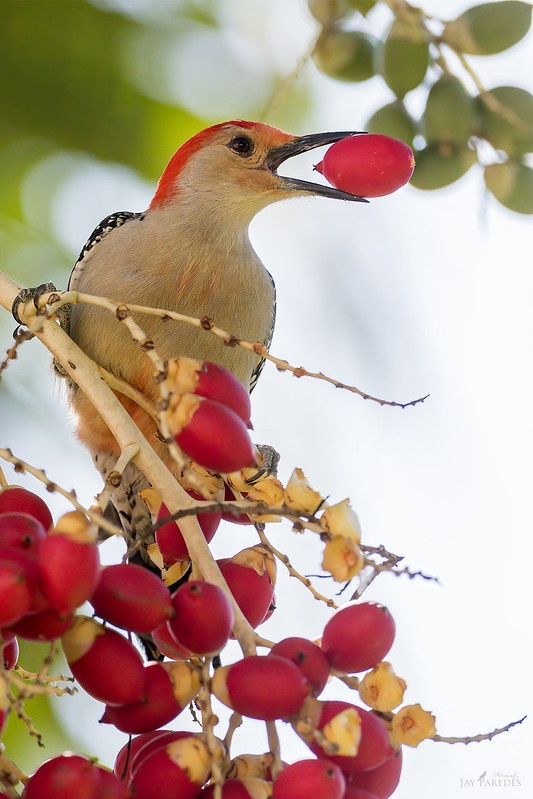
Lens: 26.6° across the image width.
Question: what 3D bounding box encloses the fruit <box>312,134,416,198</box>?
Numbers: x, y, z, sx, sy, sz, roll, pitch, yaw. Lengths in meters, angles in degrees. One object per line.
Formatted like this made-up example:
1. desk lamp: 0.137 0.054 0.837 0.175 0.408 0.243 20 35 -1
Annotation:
1. fruit: 0.145 -0.325 1.572 0.127 0.071 0.076 0 0 5

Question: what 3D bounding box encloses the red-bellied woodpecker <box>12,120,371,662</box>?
1. red-bellied woodpecker: -0.166 -0.161 2.228 0.388 0.778 0.881 0 11 -33
